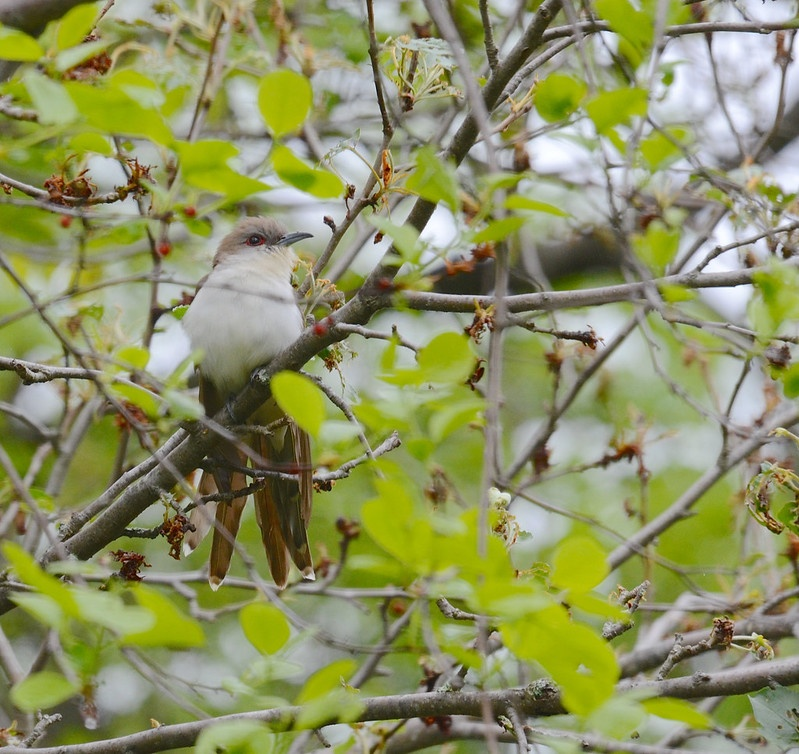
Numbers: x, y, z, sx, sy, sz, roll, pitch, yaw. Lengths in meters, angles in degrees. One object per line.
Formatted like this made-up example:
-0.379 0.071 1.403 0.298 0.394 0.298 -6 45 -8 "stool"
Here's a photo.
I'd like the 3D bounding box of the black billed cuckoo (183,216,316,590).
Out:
-0.729 0.048 4.638 0.593 1.531 0.687 5 -12 -38 "black billed cuckoo"
